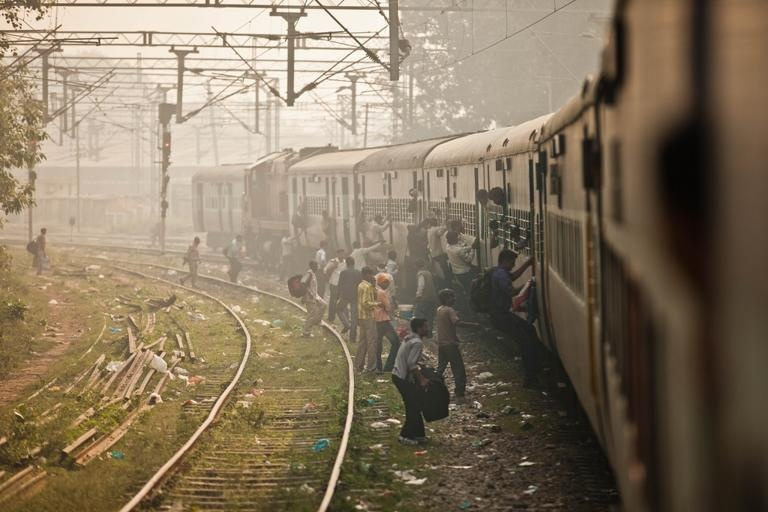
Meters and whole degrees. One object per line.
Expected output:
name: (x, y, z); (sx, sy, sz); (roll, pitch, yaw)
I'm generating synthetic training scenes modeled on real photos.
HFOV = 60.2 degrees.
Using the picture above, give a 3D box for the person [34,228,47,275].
person: (-12.986, -0.169, 24.863); (0.431, 1.675, 1.046); (-6, 8, -28)

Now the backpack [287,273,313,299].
backpack: (-1.912, 0.611, 14.978); (0.434, 0.521, 0.564); (1, 25, -18)

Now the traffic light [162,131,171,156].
traffic light: (-9.420, -4.814, 28.500); (0.301, 1.131, 0.808); (-5, 8, -20)

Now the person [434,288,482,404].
person: (1.243, 1.521, 11.071); (0.726, 2.182, 0.897); (-17, 29, -27)

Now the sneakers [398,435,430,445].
sneakers: (0.401, 2.530, 9.141); (0.389, 0.179, 0.136); (-5, 10, 9)
